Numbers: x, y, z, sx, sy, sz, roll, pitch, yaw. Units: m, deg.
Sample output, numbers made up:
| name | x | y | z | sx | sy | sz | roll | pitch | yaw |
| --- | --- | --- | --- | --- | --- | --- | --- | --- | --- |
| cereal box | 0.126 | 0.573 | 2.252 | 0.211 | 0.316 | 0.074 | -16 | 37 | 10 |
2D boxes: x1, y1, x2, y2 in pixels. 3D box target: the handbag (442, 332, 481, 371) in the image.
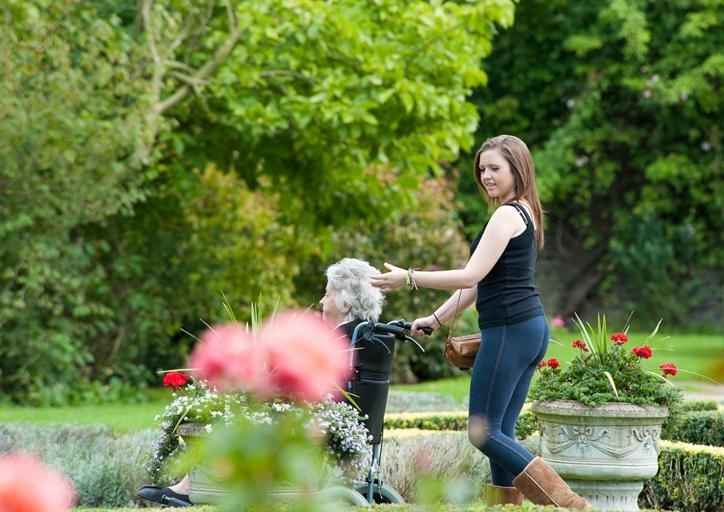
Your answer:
| name | x | y | z | sx | sy | sz | roll | pitch | yaw |
| --- | --- | --- | --- | --- | --- | --- | --- | --- | --- |
| handbag | 0.718 | 0.628 | 9.063 | 0.281 | 0.332 | 0.187 | 0 | 14 | -31 |

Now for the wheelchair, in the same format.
| name | x | y | z | sx | sy | sz | roll | pitch | yaw |
| --- | --- | --- | --- | --- | --- | --- | --- | --- | --- |
| wheelchair | -0.413 | 1.117 | 9.297 | 1.767 | 1.724 | 1.061 | 4 | -9 | 2 |

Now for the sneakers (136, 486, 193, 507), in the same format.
| name | x | y | z | sx | sy | sz | roll | pitch | yaw |
| --- | --- | --- | --- | --- | --- | --- | --- | --- | --- |
| sneakers | -1.410 | 1.735 | 9.188 | 0.417 | 0.161 | 0.176 | 12 | -6 | 2 |

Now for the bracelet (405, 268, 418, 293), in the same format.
| name | x | y | z | sx | sy | sz | roll | pitch | yaw |
| --- | --- | --- | --- | --- | --- | --- | --- | --- | --- |
| bracelet | 0.335 | 0.190 | 8.779 | 0.077 | 0.186 | 0.127 | -3 | 10 | 1 |

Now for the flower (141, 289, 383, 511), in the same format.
| name | x | y | z | sx | sy | sz | roll | pitch | yaw |
| --- | --- | --- | --- | --- | --- | --- | --- | --- | --- |
| flower | -0.566 | 1.050 | 9.464 | 1.788 | 1.736 | 1.176 | 3 | -11 | -1 |

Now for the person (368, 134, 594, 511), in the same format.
| name | x | y | z | sx | sy | sz | roll | pitch | yaw |
| --- | --- | --- | --- | --- | --- | --- | --- | --- | --- |
| person | 0.965 | 0.418 | 8.815 | 1.262 | 2.473 | 0.538 | 3 | 5 | 2 |

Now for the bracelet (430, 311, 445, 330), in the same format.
| name | x | y | z | sx | sy | sz | roll | pitch | yaw |
| --- | --- | --- | --- | --- | --- | --- | --- | --- | --- |
| bracelet | 0.531 | 0.463 | 9.092 | 0.042 | 0.113 | 0.088 | -6 | -5 | 15 |
